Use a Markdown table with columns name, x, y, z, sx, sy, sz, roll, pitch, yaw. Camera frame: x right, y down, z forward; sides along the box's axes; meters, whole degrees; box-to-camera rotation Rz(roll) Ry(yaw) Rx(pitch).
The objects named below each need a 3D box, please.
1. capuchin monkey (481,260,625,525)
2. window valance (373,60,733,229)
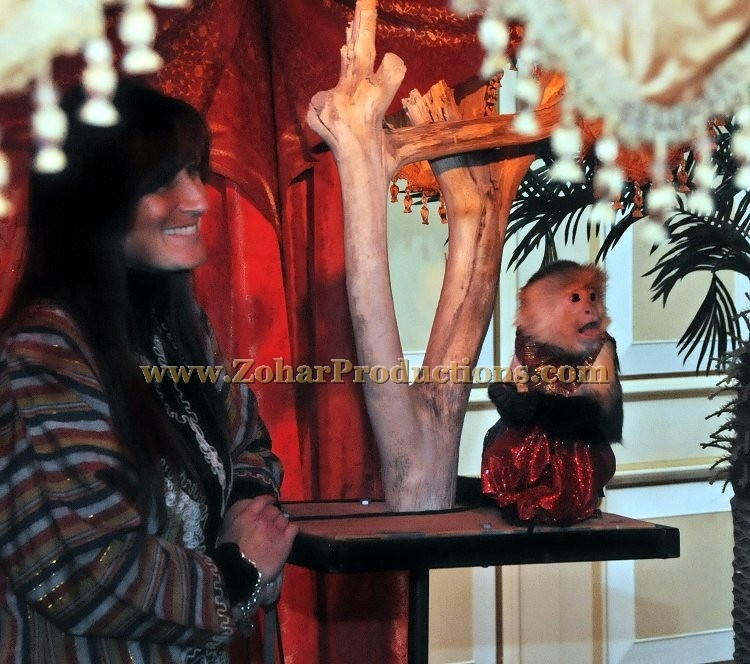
| name | x | y | z | sx | sy | sz | roll | pitch | yaw |
| --- | --- | --- | --- | --- | --- | --- | --- | --- | --- |
| capuchin monkey | 0.303 | 0.104 | 2.317 | 0.233 | 0.442 | 0.238 | 8 | 15 | 27 |
| window valance | 0.249 | -0.311 | 2.330 | 0.805 | 0.192 | 0.144 | -4 | -39 | 0 |
